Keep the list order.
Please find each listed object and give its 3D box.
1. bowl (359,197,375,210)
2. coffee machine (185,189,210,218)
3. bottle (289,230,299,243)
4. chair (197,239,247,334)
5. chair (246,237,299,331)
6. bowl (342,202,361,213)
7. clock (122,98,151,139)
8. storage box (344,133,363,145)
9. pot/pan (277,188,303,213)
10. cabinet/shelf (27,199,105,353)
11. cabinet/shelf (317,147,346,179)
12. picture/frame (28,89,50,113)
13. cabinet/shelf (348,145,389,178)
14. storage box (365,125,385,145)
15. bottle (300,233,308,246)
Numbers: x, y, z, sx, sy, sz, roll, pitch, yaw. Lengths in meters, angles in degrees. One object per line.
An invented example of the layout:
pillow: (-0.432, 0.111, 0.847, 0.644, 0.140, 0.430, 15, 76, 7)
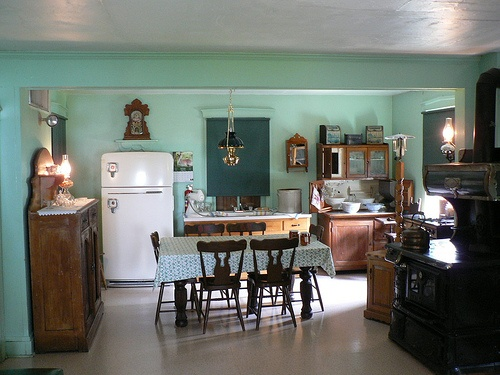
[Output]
bowl: (2.281, 0.315, 7.896, 0.228, 0.137, 0.227, 0, -3, 0)
coffee machine: (-0.961, 0.274, 7.215, 0.476, 0.510, 0.349, -1, 1, 1)
bottle: (0.606, 0.652, 5.522, 0.105, 0.128, 0.100, 0, -3, 0)
chair: (-0.361, 1.223, 5.414, 0.614, 1.217, 0.740, -1, 7, -4)
chair: (0.298, 1.201, 5.466, 0.702, 1.206, 0.794, -1, 7, -5)
bowl: (1.874, 0.364, 7.456, 0.228, 0.131, 0.224, 1, -2, 0)
clock: (-2.063, -1.255, 7.401, 0.453, 0.742, 0.193, -1, 8, -1)
storage box: (1.959, -0.892, 7.627, 0.289, 0.201, 0.206, 1, 6, -9)
pot/pan: (0.737, 0.233, 7.316, 0.443, 0.393, 0.410, 0, -3, 0)
cabinet/shelf: (-2.199, 1.065, 4.751, 0.693, 1.721, 1.778, -1, 0, -9)
cabinet/shelf: (1.550, -0.473, 7.765, 0.547, 0.788, 0.569, 0, -1, 0)
picture/frame: (-2.688, -1.132, 5.204, 0.147, 0.295, 0.694, -3, 8, -17)
cabinet/shelf: (2.204, -0.499, 7.631, 0.632, 0.464, 0.239, 0, -1, -7)
storage box: (2.381, -1.003, 7.712, 0.342, 0.345, 0.326, 0, -1, 1)
bottle: (0.750, 0.710, 5.553, 0.147, 0.178, 0.146, 1, -5, -10)
